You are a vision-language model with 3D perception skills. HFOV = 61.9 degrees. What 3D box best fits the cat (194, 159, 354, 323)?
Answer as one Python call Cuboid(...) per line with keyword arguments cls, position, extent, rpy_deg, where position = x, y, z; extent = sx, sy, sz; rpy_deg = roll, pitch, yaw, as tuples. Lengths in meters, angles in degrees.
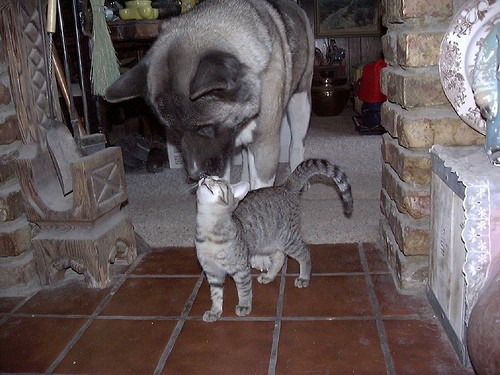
Cuboid(cls="cat", position=(0.105, 0.273, 2.769), extent=(0.423, 0.974, 1.499), rpy_deg=(15, 21, 43))
